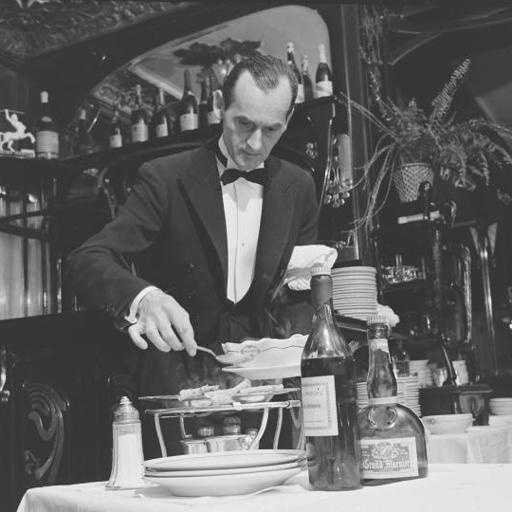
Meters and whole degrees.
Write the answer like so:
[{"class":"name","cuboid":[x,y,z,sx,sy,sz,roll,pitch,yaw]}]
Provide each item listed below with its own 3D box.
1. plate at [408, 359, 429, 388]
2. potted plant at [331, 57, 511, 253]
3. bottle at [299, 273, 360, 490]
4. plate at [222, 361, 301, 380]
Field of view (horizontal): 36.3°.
[{"class":"plate","cuboid":[0.785,0.554,3.713,0.123,0.125,0.117,2,-3,-41]},{"class":"potted plant","cuboid":[0.942,-0.623,4.242,0.986,0.710,1.040,4,13,12]},{"class":"bottle","cuboid":[0.127,0.211,1.329,0.094,0.359,0.114,-2,12,3]},{"class":"plate","cuboid":[0.026,0.254,1.697,0.108,0.020,0.081,-8,-24,12]}]
